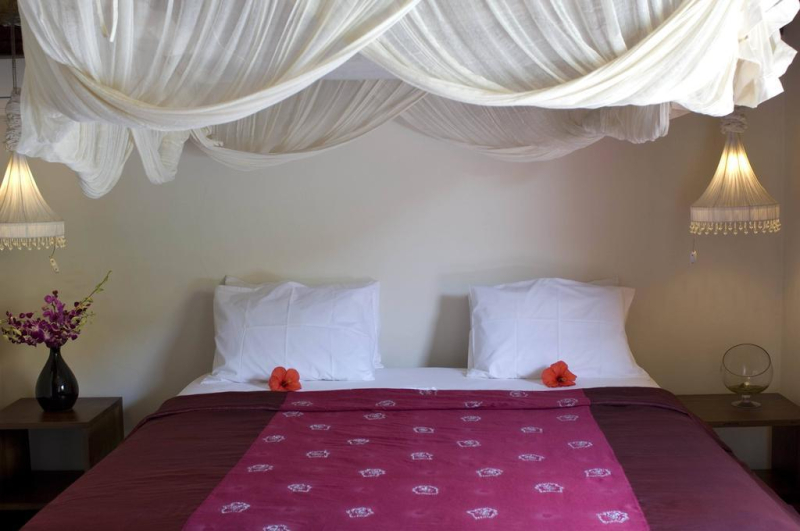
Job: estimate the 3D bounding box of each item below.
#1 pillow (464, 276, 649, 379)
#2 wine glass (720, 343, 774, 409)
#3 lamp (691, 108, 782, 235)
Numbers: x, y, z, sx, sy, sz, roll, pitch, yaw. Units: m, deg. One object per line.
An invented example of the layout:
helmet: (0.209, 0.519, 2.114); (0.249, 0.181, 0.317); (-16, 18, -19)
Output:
pillow: (0.948, 0.396, 3.362); (0.951, 0.665, 0.244); (-1, -17, 7)
wine glass: (2.104, 0.653, 3.278); (0.334, 0.400, 0.343); (-1, 0, 7)
lamp: (1.966, -0.601, 3.159); (0.494, 0.718, 0.484); (-9, 13, -25)
